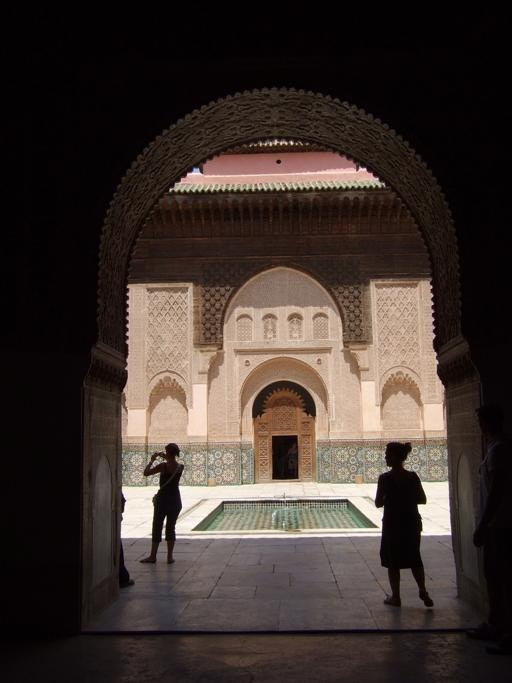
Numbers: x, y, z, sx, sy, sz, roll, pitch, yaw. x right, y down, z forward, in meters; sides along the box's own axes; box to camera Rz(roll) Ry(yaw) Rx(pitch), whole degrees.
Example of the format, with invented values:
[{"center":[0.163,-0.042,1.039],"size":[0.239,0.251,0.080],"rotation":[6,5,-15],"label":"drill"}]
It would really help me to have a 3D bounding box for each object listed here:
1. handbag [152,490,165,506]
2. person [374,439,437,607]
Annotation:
[{"center":[-0.728,1.177,5.096],"size":[0.082,0.111,0.111],"rotation":[2,-13,-4],"label":"handbag"},{"center":[0.832,1.019,3.848],"size":[0.279,0.888,0.584],"rotation":[-3,-11,10],"label":"person"}]
